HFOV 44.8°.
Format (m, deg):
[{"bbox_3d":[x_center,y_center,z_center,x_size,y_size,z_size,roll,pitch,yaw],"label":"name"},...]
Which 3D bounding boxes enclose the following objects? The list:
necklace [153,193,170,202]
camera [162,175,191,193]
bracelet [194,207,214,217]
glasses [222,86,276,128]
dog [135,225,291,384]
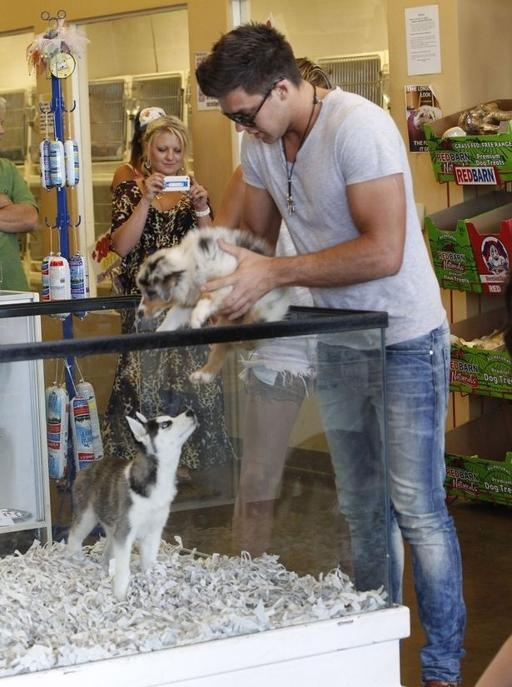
[{"bbox_3d":[-0.500,-0.759,3.237,0.074,0.069,0.017,2,-5,15],"label":"necklace"},{"bbox_3d":[-0.377,-0.766,2.982,0.138,0.068,0.095,-5,6,-15],"label":"camera"},{"bbox_3d":[-0.274,-0.668,3.156,0.097,0.047,0.112,-3,0,0],"label":"bracelet"},{"bbox_3d":[-0.015,-0.548,1.441,0.027,0.089,0.087,28,-1,-30],"label":"glasses"},{"bbox_3d":[-0.132,-0.079,1.538,0.233,0.380,0.631,-2,2,26],"label":"dog"}]
